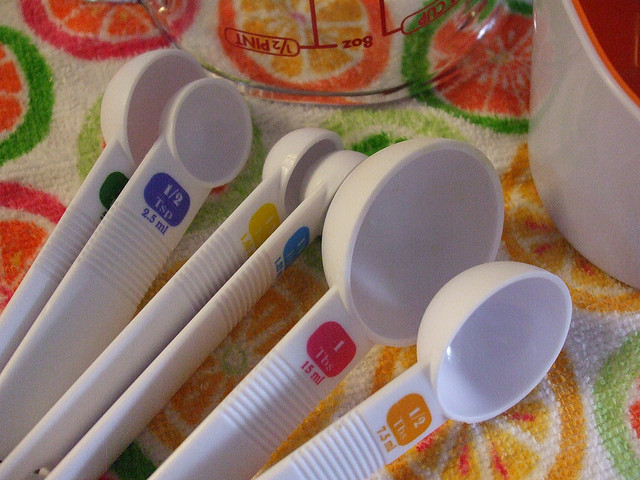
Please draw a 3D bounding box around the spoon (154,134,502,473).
[{"bbox_3d":[0.040,0.021,0.744,0.143,0.221,0.532,19,68,48],"label":"spoon"}]

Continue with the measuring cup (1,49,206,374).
[{"bbox_3d":[-0.236,-0.122,0.843,0.120,0.118,0.532,15,75,37],"label":"measuring cup"}]

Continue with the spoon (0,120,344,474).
[{"bbox_3d":[-0.154,0.075,0.707,0.056,0.078,0.398,27,79,46],"label":"spoon"}]
